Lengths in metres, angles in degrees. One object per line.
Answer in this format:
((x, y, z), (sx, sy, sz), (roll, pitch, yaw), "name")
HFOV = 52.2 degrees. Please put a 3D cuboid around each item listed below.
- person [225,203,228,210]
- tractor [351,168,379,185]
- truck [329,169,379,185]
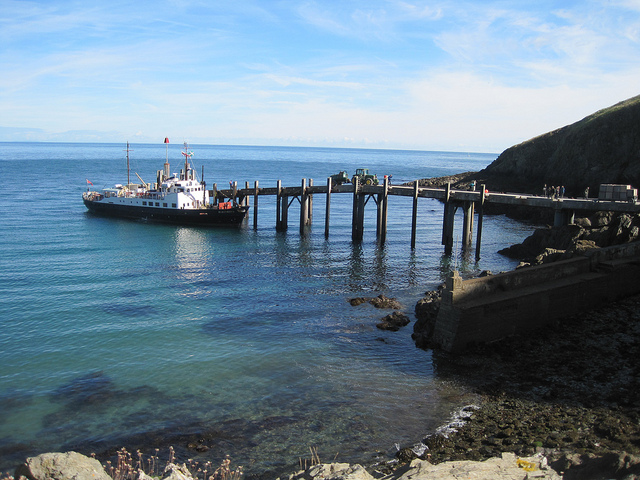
((-10.381, -3.761, 73.279), (0.282, 0.583, 1.372), (-6, 9, -11), "person")
((4.982, -6.551, 68.154), (3.100, 1.509, 1.510), (4, 4, 16), "tractor")
((3.259, -6.589, 69.525), (6.573, 1.809, 1.891), (3, 10, 31), "truck")
